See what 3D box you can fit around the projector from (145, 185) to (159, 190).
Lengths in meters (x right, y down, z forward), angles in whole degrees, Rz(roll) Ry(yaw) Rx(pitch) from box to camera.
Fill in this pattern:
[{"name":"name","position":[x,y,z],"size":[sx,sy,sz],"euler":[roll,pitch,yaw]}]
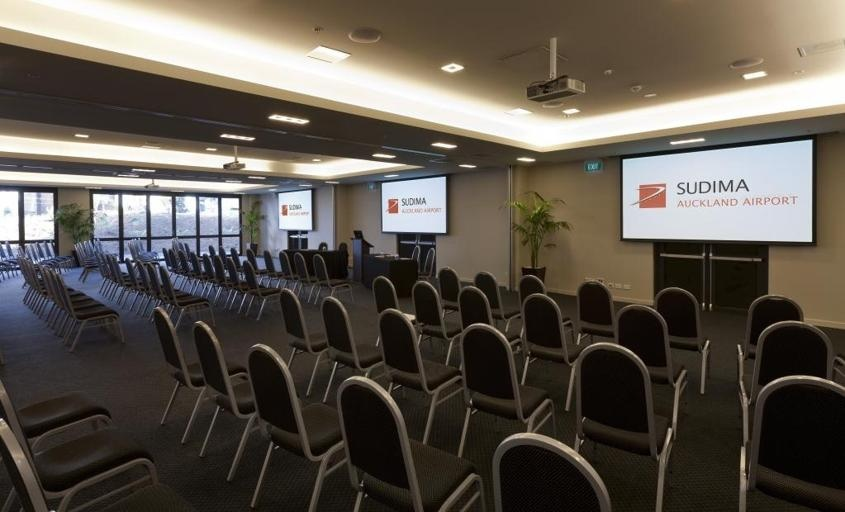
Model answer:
[{"name":"projector","position":[-9.570,-2.428,17.764],"size":[0.317,0.122,0.314],"euler":[-2,4,-40]}]

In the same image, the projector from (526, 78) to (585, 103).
[{"name":"projector","position":[1.791,-2.252,6.761],"size":[0.677,0.260,0.300],"euler":[1,6,36]}]

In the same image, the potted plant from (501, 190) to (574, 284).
[{"name":"potted plant","position":[2.855,-0.501,13.782],"size":[2.050,2.932,2.119],"euler":[5,-5,-42]}]
